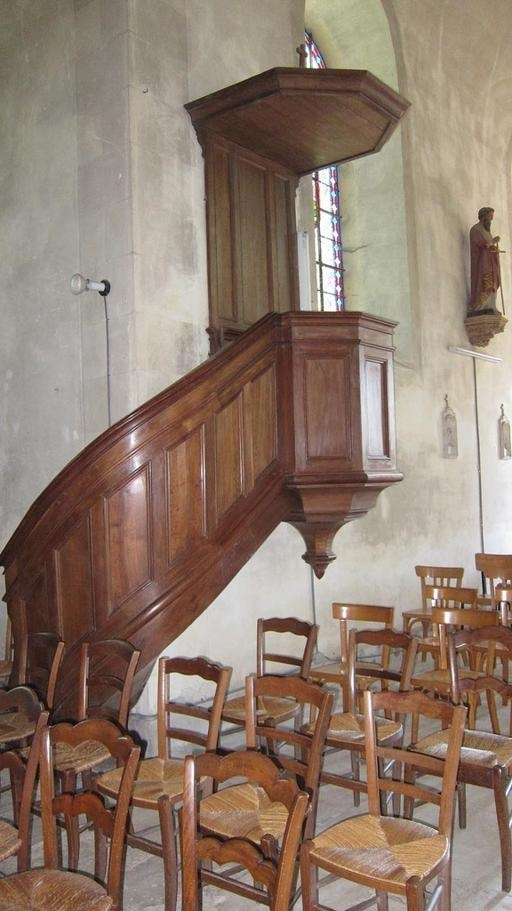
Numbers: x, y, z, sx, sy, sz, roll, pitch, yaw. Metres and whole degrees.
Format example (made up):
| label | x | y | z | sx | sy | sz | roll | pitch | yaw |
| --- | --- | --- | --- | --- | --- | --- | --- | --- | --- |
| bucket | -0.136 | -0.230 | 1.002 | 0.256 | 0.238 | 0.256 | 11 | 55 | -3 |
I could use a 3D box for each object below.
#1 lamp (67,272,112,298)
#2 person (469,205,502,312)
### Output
| label | x | y | z | sx | sy | sz | roll | pitch | yaw |
| --- | --- | --- | --- | --- | --- | --- | --- | --- | --- |
| lamp | -0.969 | -0.976 | 4.711 | 0.226 | 0.139 | 0.124 | 5 | -11 | -41 |
| person | 2.594 | -2.234 | 9.341 | 0.370 | 1.274 | 0.319 | -5 | -8 | 16 |
